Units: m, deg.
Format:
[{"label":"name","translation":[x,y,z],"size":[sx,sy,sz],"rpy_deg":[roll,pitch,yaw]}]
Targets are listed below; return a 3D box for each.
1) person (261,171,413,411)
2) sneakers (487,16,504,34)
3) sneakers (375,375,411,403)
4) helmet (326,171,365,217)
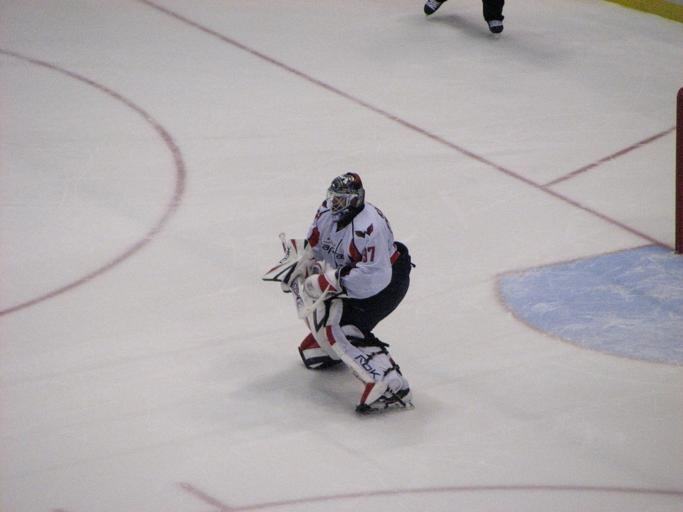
[{"label":"person","translation":[0.060,0.224,7.061],"size":[0.859,1.488,1.045],"rpy_deg":[-17,31,-19]},{"label":"sneakers","translation":[1.739,-2.577,11.658],"size":[0.114,0.125,0.270],"rpy_deg":[0,54,0]},{"label":"sneakers","translation":[0.374,0.898,7.085],"size":[0.236,0.150,0.209],"rpy_deg":[29,-7,-13]},{"label":"helmet","translation":[0.026,-0.429,7.025],"size":[0.240,0.232,0.301],"rpy_deg":[16,22,39]}]
